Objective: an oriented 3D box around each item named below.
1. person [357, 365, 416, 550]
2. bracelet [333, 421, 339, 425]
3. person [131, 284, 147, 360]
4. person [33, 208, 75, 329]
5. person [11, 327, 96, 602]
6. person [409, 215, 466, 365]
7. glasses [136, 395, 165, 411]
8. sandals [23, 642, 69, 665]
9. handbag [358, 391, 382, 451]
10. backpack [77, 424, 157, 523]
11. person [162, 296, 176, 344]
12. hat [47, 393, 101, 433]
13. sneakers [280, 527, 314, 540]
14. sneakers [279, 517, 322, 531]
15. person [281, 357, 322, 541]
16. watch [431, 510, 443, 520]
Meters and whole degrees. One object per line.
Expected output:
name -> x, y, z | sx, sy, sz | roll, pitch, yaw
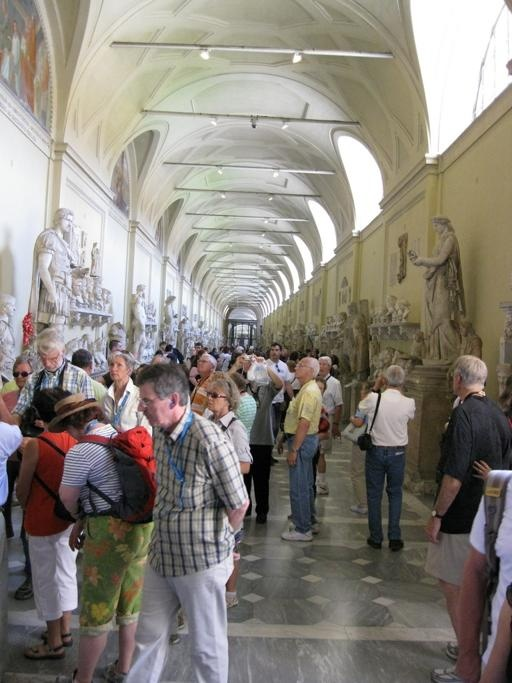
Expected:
person -> 1.227, 1.104, 4.499 | 0.569, 1.644, 0.507 | 4, -3, -6
bracelet -> 1.059, 1.087, 6.139 | 0.068, 0.072, 0.065 | -9, -28, 13
person -> -3.817, -0.580, 15.109 | 0.494, 2.422, 0.904 | 5, -5, -16
person -> -3.525, -1.316, 8.127 | 0.515, 2.328, 0.798 | 4, -5, 1
person -> -1.315, 0.810, 3.276 | 0.573, 1.851, 0.536 | -12, 13, -36
person -> 3.076, -0.807, 7.703 | 0.735, 2.280, 1.346 | 2, -6, 24
glasses -> -0.358, 0.202, 1.567 | 0.062, 0.036, 0.059 | 1, 4, -10
sandals -> -1.065, 1.571, 2.350 | 0.163, 0.065, 0.084 | 9, -2, -7
handbag -> 1.067, 0.750, 4.377 | 0.205, 0.590, 0.238 | 3, -5, 14
backpack -> -0.572, 0.550, 1.929 | 0.363, 0.370, 0.309 | -3, 2, 18
person -> -3.911, -1.012, 21.194 | 0.628, 2.283, 1.495 | 5, -5, -11
hat -> -0.780, 0.301, 1.997 | 0.172, 0.065, 0.154 | -31, 3, 4
sneakers -> 0.400, 1.909, 4.588 | 0.336, 0.148, 0.121 | 5, -7, 0
sneakers -> 0.479, 1.922, 4.834 | 0.441, 0.192, 0.150 | 4, -4, -5
person -> 0.452, 1.057, 4.577 | 0.357, 1.777, 0.758 | 3, -5, 6
watch -> 0.959, 0.928, 2.472 | 0.051, 0.031, 0.051 | 17, -24, 37
